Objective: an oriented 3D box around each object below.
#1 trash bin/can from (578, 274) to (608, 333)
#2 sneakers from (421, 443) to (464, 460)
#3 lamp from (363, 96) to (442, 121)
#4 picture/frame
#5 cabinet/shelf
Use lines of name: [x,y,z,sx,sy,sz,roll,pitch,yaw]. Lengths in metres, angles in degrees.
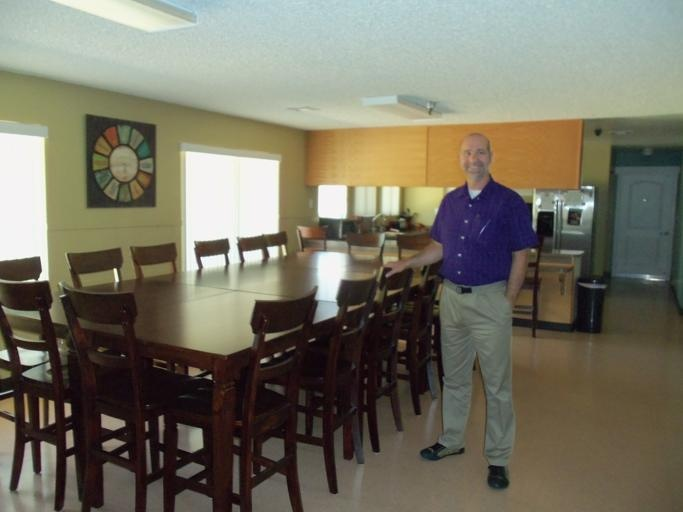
trash bin/can: [2.898,0.562,6.455,0.318,0.593,0.366,5,12,23]
sneakers: [0.684,1.264,3.646,0.318,0.139,0.107,0,0,-6]
lamp: [0.697,-1.509,5.624,0.552,0.166,0.960,7,12,32]
picture/frame: [-2.197,-0.957,5.454,0.053,1.093,1.005,3,3,31]
cabinet/shelf: [2.256,0.432,6.045,0.751,0.722,0.418,0,-2,17]
